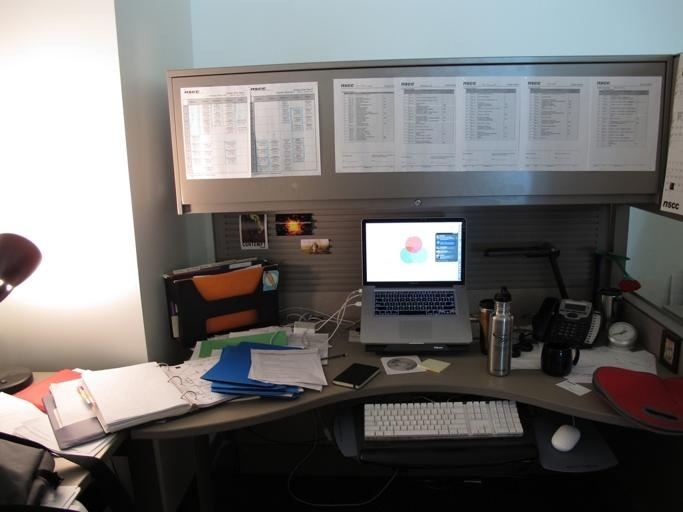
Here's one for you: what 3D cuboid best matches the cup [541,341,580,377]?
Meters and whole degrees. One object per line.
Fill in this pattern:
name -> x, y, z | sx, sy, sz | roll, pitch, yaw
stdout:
cup -> 0.857, 0.403, 2.118 | 0.170, 0.111, 0.108 | 0, 5, -11

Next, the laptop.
laptop -> 0.312, 0.108, 2.258 | 0.559, 0.376, 0.462 | 8, 40, 15
